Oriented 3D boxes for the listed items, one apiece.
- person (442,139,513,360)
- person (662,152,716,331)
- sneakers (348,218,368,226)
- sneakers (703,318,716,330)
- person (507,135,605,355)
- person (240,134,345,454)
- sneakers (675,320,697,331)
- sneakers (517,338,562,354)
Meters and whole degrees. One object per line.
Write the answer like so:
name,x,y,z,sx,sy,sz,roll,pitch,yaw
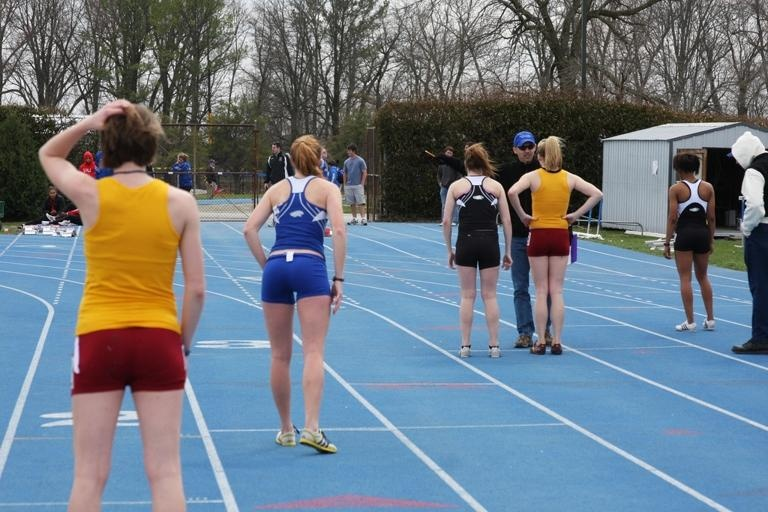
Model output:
person,1.107,-0.056,9.612,0.815,2.550,0.554,0,7,5
person,4.325,-0.220,11.306,0.711,2.448,0.861,3,7,22
sneakers,-0.857,-1.124,26.516,0.638,0.279,0.218,3,3,25
sneakers,4.582,0.951,11.354,0.111,0.111,0.244,0,3,9
person,2.036,-0.115,9.823,1.000,2.632,0.658,-5,8,-34
person,-0.726,0.300,6.831,0.616,2.629,0.826,-6,9,-40
sneakers,4.226,0.964,11.292,0.284,0.143,0.124,1,4,5
sneakers,1.915,1.113,10.047,0.210,0.247,0.569,-4,5,-32
